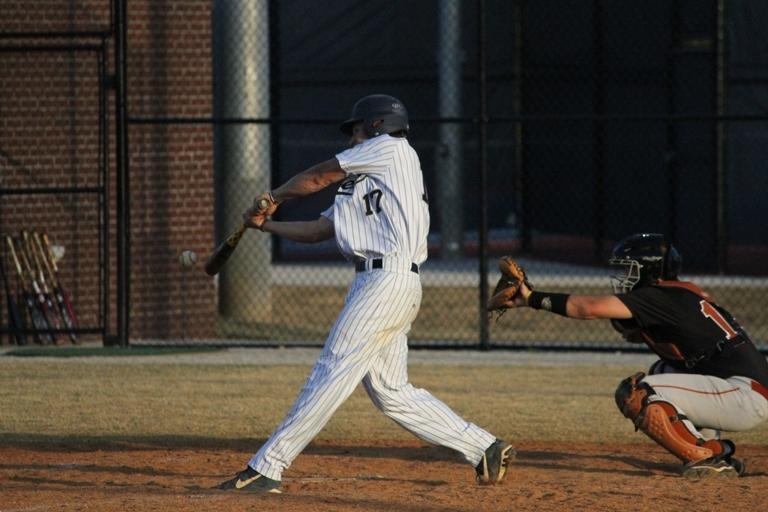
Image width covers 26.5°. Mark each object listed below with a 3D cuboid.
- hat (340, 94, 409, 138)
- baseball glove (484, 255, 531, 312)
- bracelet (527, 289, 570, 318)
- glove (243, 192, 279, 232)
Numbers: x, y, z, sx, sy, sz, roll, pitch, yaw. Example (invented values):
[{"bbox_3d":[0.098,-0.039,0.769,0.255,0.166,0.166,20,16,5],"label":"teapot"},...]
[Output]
[{"bbox_3d":[-0.084,-1.623,18.998,1.058,0.627,0.482,6,9,3],"label":"hat"},{"bbox_3d":[1.485,0.359,19.298,0.418,0.681,0.788,3,8,5],"label":"baseball glove"},{"bbox_3d":[1.931,0.540,19.157,0.432,0.252,0.171,7,4,14],"label":"bracelet"},{"bbox_3d":[-1.433,-0.523,19.149,0.156,0.422,0.430,36,-17,16],"label":"glove"}]
